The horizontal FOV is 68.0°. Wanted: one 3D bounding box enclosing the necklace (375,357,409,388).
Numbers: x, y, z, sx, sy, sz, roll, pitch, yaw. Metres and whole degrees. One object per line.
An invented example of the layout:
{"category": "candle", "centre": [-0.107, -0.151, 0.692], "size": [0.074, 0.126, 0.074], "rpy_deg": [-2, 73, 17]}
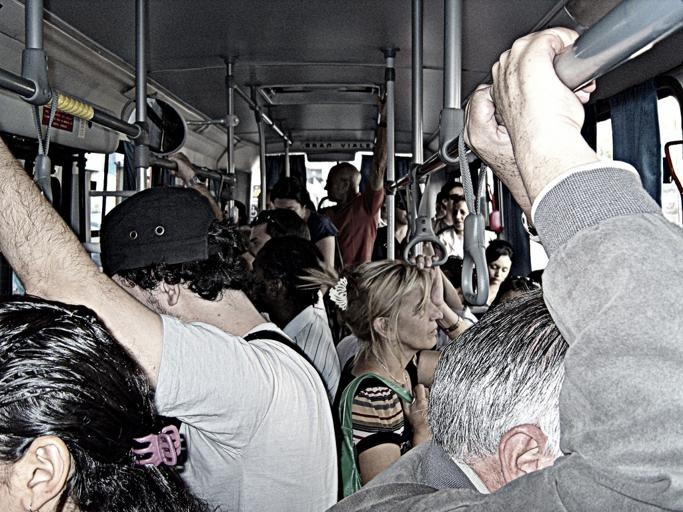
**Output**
{"category": "necklace", "centre": [0.252, 0.592, 2.595], "size": [0.179, 0.099, 0.109], "rpy_deg": [34, 23, 15]}

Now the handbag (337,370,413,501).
{"category": "handbag", "centre": [0.141, 0.801, 2.221], "size": [0.344, 0.573, 0.391], "rpy_deg": [-1, -1, 36]}

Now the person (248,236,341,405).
{"category": "person", "centre": [-0.274, 0.322, 2.663], "size": [0.430, 0.786, 0.968], "rpy_deg": [13, 3, 5]}

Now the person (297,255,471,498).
{"category": "person", "centre": [0.137, 0.456, 2.046], "size": [0.567, 1.412, 0.461], "rpy_deg": [-8, 19, -14]}
